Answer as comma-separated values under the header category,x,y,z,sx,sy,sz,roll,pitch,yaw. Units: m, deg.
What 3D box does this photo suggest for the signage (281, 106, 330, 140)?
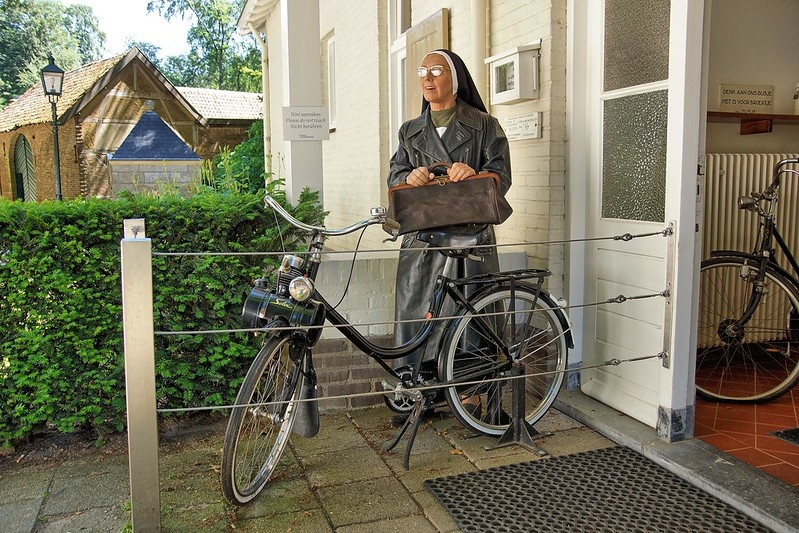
category,x,y,z,sx,sy,sz,roll,pitch,yaw
signage,-0.739,-1.146,4.536,0.308,0.218,0.033,0,0,-6

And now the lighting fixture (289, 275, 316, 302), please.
category,x,y,z,sx,sy,sz,roll,pitch,yaw
lighting fixture,-0.549,0.126,3.275,0.150,0.148,0.107,-6,9,-24

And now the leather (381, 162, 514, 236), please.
category,x,y,z,sx,sy,sz,roll,pitch,yaw
leather,0.254,-0.420,3.632,0.822,0.352,0.252,-10,25,-23

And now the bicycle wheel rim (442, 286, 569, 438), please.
category,x,y,z,sx,sy,sz,roll,pitch,yaw
bicycle wheel rim,0.744,0.653,3.936,1.064,1.024,0.305,-5,-23,44

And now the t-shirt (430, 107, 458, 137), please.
category,x,y,z,sx,sy,sz,roll,pitch,yaw
t-shirt,0.286,-1.007,4.032,0.208,0.162,0.171,-7,-2,-5

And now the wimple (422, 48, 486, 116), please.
category,x,y,z,sx,sy,sz,roll,pitch,yaw
wimple,0.397,-1.284,4.004,0.144,0.463,0.342,-22,12,-23
